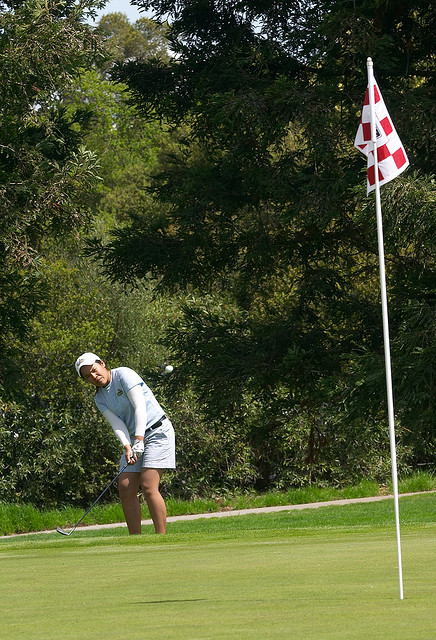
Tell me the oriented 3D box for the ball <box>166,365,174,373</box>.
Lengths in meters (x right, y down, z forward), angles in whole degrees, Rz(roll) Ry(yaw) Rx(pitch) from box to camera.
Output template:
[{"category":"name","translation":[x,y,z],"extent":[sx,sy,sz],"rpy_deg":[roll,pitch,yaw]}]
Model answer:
[{"category":"ball","translation":[-0.619,0.620,15.914],"extent":[0.081,0.083,0.047],"rpy_deg":[-3,-50,7]}]
